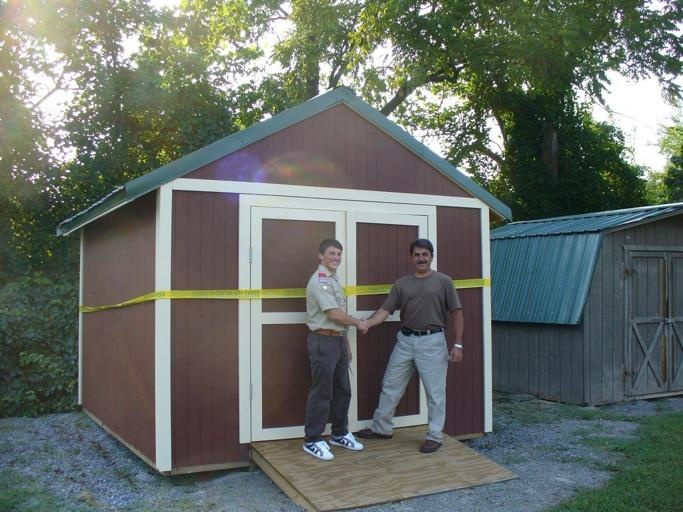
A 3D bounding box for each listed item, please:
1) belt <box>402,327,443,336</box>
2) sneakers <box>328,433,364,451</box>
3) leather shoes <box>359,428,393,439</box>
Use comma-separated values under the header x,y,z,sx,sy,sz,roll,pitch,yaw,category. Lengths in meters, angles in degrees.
x,y,z,sx,sy,sz,roll,pitch,yaw,category
1.013,0.967,7.990,0.518,0.096,0.124,0,3,9,belt
0.069,2.327,7.906,0.462,0.215,0.177,3,-1,21,sneakers
0.444,2.323,8.149,0.419,0.206,0.168,7,-13,2,leather shoes
